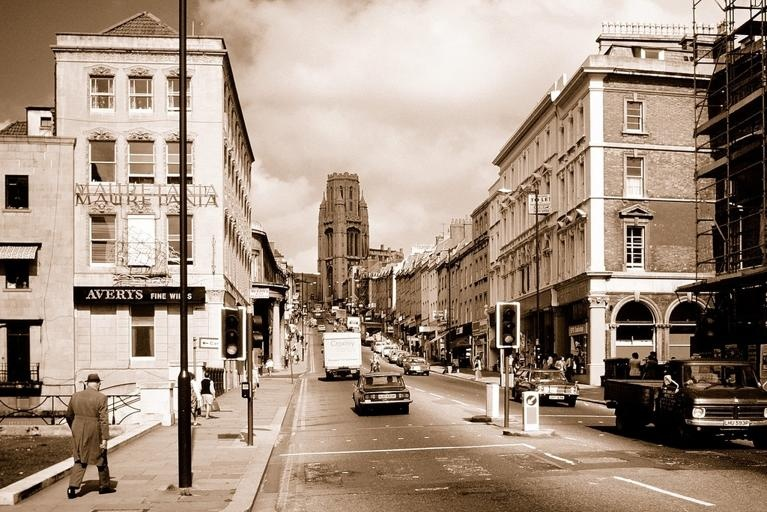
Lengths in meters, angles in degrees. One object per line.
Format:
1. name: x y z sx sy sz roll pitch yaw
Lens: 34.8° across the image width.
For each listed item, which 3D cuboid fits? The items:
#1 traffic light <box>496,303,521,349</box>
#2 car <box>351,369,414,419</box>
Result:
1. traffic light: 5.338 3.002 52.556 1.001 1.951 1.349 -1 -10 2
2. car: -0.039 6.784 60.590 2.907 2.131 2.118 -5 -11 22
